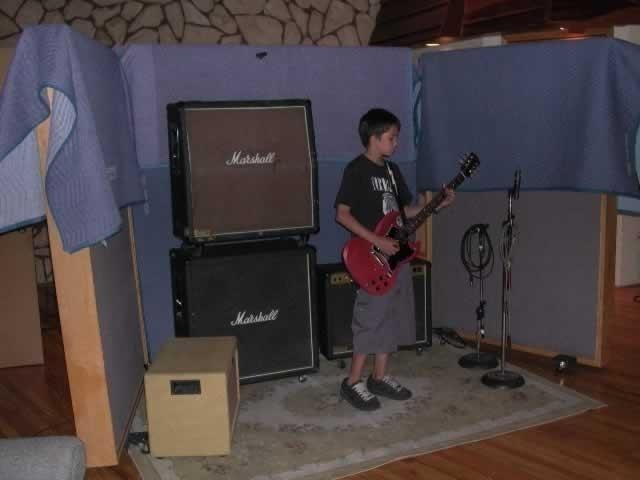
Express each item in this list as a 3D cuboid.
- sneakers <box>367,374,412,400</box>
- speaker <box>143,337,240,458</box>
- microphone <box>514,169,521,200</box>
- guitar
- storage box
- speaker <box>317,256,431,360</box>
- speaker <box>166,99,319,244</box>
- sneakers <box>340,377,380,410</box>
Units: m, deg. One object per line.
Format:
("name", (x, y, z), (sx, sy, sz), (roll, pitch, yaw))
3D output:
("sneakers", (0.397, 0.853, 3.513), (0.278, 0.118, 0.110), (6, 9, 11))
("speaker", (-0.655, 0.823, 3.124), (0.405, 0.473, 0.512), (-1, 14, 0))
("microphone", (1.174, -0.336, 3.528), (0.046, 0.195, 0.305), (3, 15, 18))
("guitar", (0.481, -0.086, 3.328), (0.764, 0.721, 0.152), (-9, 16, -26))
("storage box", (-0.670, 0.841, 3.191), (0.405, 0.429, 0.607), (0, 3, 0))
("speaker", (0.302, 0.397, 3.544), (0.648, 0.638, 0.253), (0, 5, -20))
("speaker", (-0.445, -0.405, 3.369), (0.755, 0.805, 0.301), (-3, 5, -11))
("sneakers", (0.224, 0.895, 3.431), (0.234, 0.114, 0.112), (15, 16, 40))
